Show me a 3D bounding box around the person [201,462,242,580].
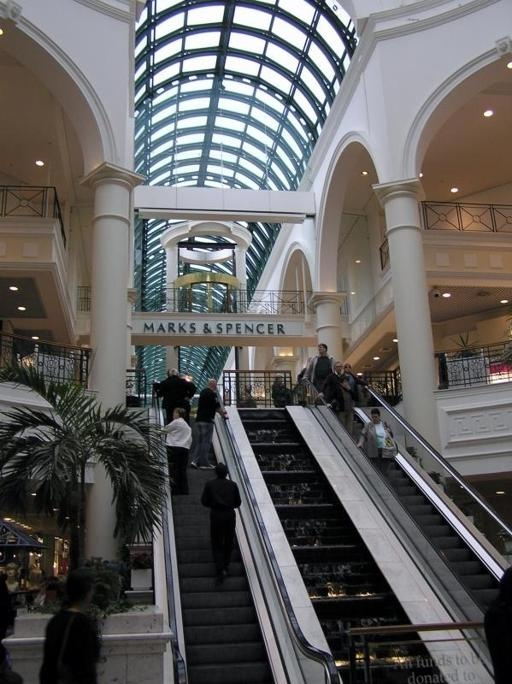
[{"bbox_3d":[-0.381,1.915,5.266,0.374,1.117,0.333,-2,10,-9],"label":"person"}]

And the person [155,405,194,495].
[{"bbox_3d":[-1.212,1.700,7.520,0.427,1.267,1.040,-3,-4,-10],"label":"person"}]

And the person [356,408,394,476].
[{"bbox_3d":[1.997,1.610,7.884,0.582,0.926,0.992,-4,-4,-3],"label":"person"}]

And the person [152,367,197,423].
[{"bbox_3d":[-1.591,1.247,9.906,0.731,1.664,0.497,2,23,1],"label":"person"}]

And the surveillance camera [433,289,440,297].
[{"bbox_3d":[5.523,-1.483,14.813,0.202,0.173,0.217,0,-18,8],"label":"surveillance camera"}]
